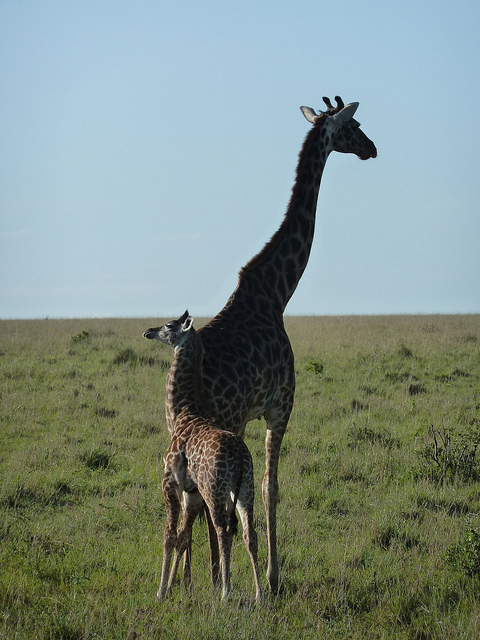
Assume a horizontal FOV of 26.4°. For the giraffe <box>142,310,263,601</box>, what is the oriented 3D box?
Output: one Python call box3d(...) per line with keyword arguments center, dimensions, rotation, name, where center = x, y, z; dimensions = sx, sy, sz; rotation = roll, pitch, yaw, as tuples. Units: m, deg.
box3d(center=(-0.330, 1.121, 8.586), dimensions=(0.776, 2.365, 1.427), rotation=(0, 0, -20), name="giraffe")
